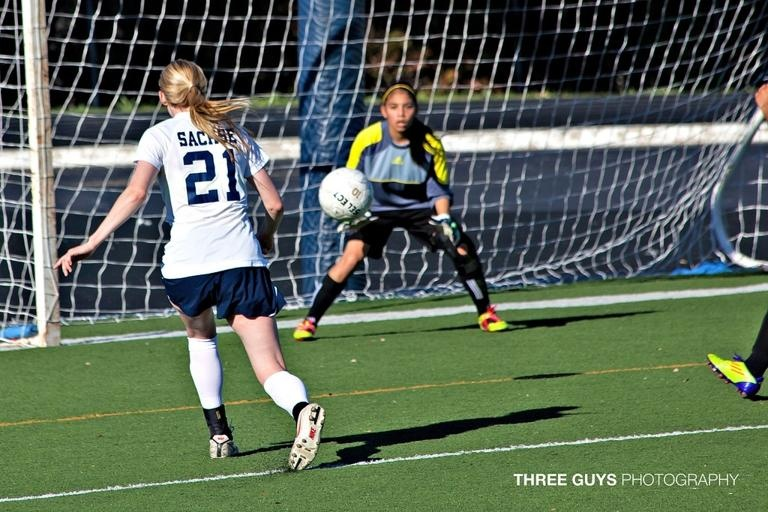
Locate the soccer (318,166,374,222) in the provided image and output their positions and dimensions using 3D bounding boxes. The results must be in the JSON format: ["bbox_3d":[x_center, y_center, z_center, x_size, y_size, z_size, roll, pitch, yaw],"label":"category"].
[{"bbox_3d":[-0.264,-0.498,7.257,0.491,0.405,0.399,-7,48,20],"label":"soccer"}]

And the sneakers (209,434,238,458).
[{"bbox_3d":[-0.992,1.169,5.485,0.103,0.078,0.191,2,3,7],"label":"sneakers"}]

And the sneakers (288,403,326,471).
[{"bbox_3d":[-0.425,1.026,5.144,0.166,0.415,0.187,18,7,-4],"label":"sneakers"}]

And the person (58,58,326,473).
[{"bbox_3d":[-0.986,0.063,5.301,1.302,2.414,0.710,1,14,12],"label":"person"}]

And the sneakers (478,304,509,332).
[{"bbox_3d":[0.943,0.578,7.890,0.153,0.211,0.319,-3,3,-42],"label":"sneakers"}]
